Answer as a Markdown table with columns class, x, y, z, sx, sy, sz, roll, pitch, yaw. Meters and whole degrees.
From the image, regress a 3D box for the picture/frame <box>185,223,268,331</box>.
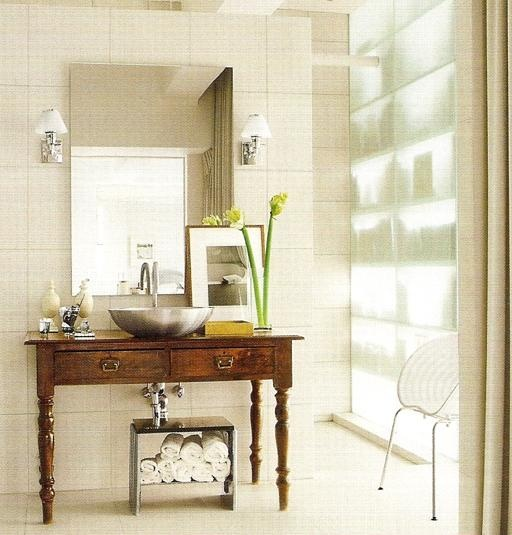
| class | x | y | z | sx | sy | sz | roll | pitch | yaw |
| --- | --- | --- | --- | --- | --- | --- | --- | --- | --- |
| picture/frame | -0.127 | 0.051 | 3.562 | 0.412 | 0.499 | 0.024 | -1 | -3 | -34 |

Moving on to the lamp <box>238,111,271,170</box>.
| class | x | y | z | sx | sy | sz | roll | pitch | yaw |
| --- | --- | --- | --- | --- | --- | --- | --- | --- | --- |
| lamp | -0.001 | -0.557 | 3.585 | 0.149 | 0.198 | 0.133 | -4 | 0 | 29 |

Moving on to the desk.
| class | x | y | z | sx | sy | sz | roll | pitch | yaw |
| --- | --- | --- | --- | --- | --- | --- | --- | --- | --- |
| desk | -0.417 | 0.649 | 3.337 | 1.451 | 0.847 | 0.695 | 1 | -5 | -13 |

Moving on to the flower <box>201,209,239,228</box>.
| class | x | y | z | sx | sy | sz | roll | pitch | yaw |
| --- | --- | --- | --- | --- | --- | --- | --- | --- | --- |
| flower | -0.155 | -0.209 | 3.518 | 0.146 | 0.071 | 0.092 | -7 | 5 | -3 |

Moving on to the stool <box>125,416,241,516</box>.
| class | x | y | z | sx | sy | sz | roll | pitch | yaw |
| --- | --- | --- | --- | --- | --- | --- | --- | --- | --- |
| stool | -0.299 | 0.744 | 3.248 | 0.511 | 0.362 | 0.357 | 0 | -4 | -10 |

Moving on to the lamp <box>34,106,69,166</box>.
| class | x | y | z | sx | sy | sz | roll | pitch | yaw |
| --- | --- | --- | --- | --- | --- | --- | --- | --- | --- |
| lamp | -0.852 | -0.554 | 3.406 | 0.128 | 0.235 | 0.174 | -2 | 7 | -12 |

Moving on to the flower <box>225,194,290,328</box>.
| class | x | y | z | sx | sy | sz | roll | pitch | yaw |
| --- | --- | --- | --- | --- | --- | --- | --- | --- | --- |
| flower | -0.002 | -0.031 | 3.562 | 0.276 | 0.586 | 0.340 | 0 | 7 | 2 |
